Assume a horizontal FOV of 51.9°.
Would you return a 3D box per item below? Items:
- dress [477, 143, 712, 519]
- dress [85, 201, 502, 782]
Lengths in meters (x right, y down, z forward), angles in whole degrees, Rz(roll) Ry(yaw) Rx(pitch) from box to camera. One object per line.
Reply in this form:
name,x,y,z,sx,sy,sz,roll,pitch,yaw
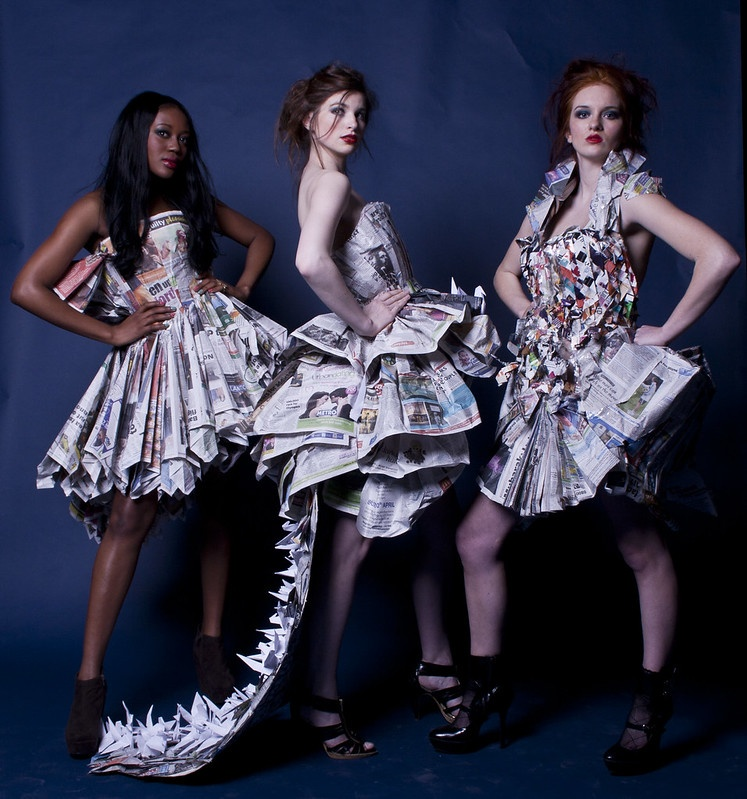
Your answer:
dress,0.498,-0.140,1.730,0.485,0.840,0.337,1,7,23
dress,-0.056,0.236,1.913,1.058,1.257,0.511,-2,-22,11
